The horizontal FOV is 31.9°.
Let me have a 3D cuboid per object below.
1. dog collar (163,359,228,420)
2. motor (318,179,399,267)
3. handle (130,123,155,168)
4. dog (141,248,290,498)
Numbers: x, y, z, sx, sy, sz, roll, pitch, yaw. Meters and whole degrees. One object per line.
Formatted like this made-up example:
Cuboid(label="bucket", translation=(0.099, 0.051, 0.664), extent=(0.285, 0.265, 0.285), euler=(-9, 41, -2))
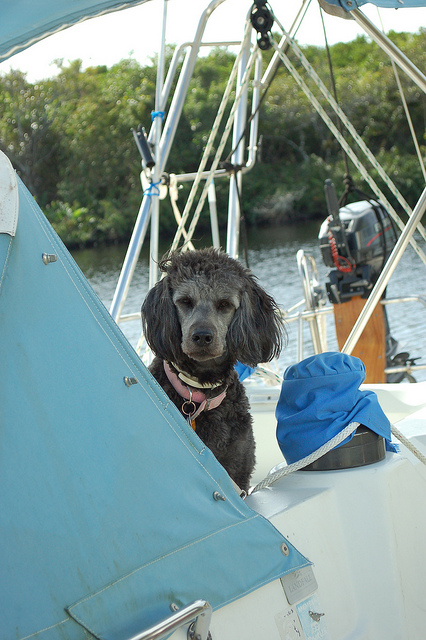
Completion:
Cuboid(label="dog collar", translation=(-0.066, 0.241, 2.606), extent=(0.149, 0.056, 0.191), euler=(-7, 41, -45))
Cuboid(label="motor", translation=(1.053, -0.768, 5.647), extent=(0.471, 0.629, 0.680), euler=(0, 21, 36))
Cuboid(label="handle", translation=(-0.375, -0.932, 4.032), extent=(0.085, 0.229, 0.212), euler=(-9, 7, -3))
Cuboid(label="dog", translation=(-0.009, 0.185, 2.743), extent=(0.430, 0.871, 0.534), euler=(-6, 8, 19))
